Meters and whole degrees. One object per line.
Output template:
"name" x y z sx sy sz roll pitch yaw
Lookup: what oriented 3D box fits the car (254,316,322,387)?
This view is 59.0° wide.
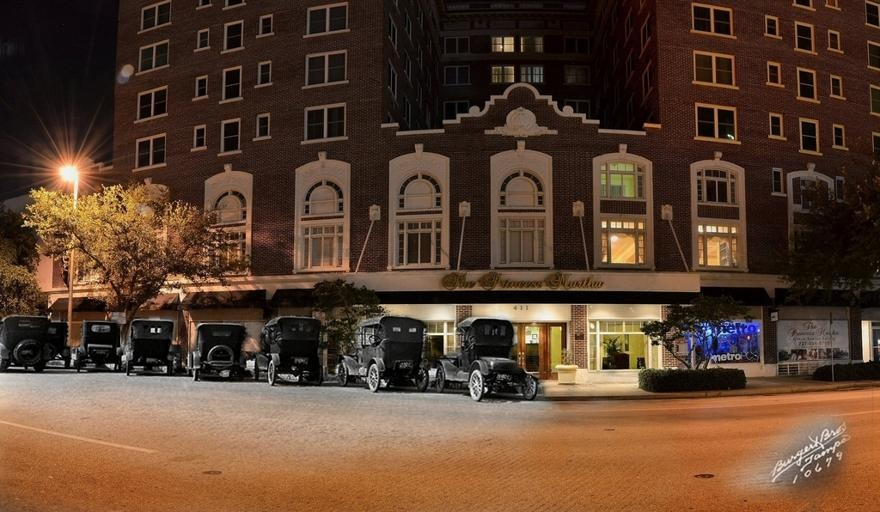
"car" -9.902 6.331 51.502 3.848 4.432 2.672 -2 -13 8

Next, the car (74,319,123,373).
"car" -25.901 6.872 59.205 3.121 3.741 1.873 6 -14 -24

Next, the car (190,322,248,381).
"car" -15.520 6.458 54.221 2.783 2.784 5.090 2 -6 -18
